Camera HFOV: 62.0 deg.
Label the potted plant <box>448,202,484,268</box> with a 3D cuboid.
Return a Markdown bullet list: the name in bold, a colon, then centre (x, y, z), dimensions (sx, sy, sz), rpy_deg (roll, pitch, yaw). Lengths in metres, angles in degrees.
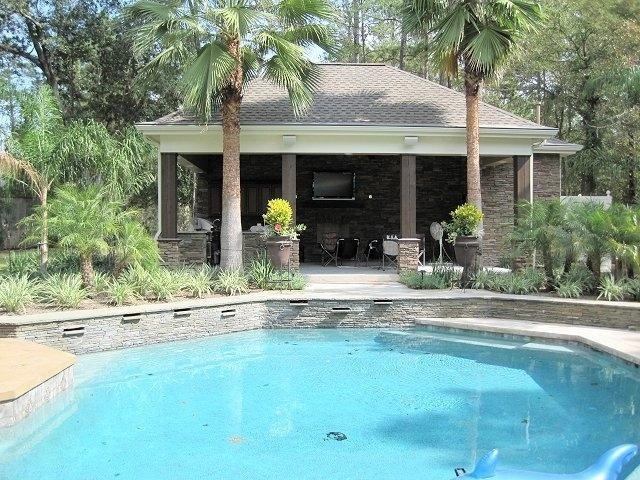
- **potted plant**: centre (3.610, -0.052, 13.230), dimensions (0.763, 1.706, 1.552), rpy_deg (3, 10, 17)

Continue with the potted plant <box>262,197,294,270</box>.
- **potted plant**: centre (-0.996, -0.077, 13.157), dimensions (0.702, 1.909, 1.392), rpy_deg (-1, 10, -3)
